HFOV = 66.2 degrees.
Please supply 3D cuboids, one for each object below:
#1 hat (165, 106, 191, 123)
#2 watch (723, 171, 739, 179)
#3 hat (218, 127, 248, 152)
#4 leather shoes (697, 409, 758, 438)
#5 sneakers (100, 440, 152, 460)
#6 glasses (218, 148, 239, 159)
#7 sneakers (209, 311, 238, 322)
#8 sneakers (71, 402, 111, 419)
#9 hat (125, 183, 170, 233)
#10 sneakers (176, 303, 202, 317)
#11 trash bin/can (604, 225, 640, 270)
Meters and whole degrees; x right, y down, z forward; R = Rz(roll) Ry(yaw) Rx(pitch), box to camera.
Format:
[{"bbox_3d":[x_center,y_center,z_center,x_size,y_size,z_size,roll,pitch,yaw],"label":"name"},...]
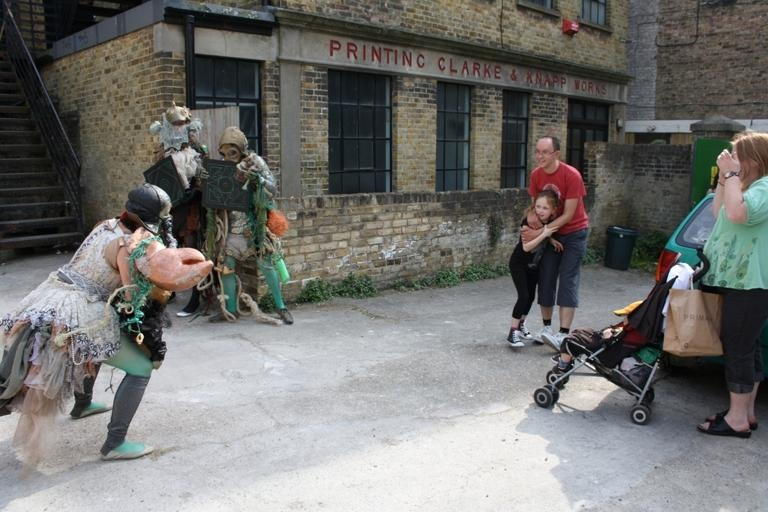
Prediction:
[{"bbox_3d":[-2.742,-1.869,7.894,0.321,0.235,0.236,-6,31,-16],"label":"hat"},{"bbox_3d":[3.070,-0.711,5.179,0.094,0.064,0.050,5,15,21],"label":"watch"},{"bbox_3d":[-1.963,-1.549,7.941,0.295,0.356,0.393,3,-22,11],"label":"hat"},{"bbox_3d":[3.142,1.539,5.379,0.358,0.125,0.263,1,0,20],"label":"leather shoes"},{"bbox_3d":[-2.112,1.611,4.840,0.386,0.144,0.148,-2,7,-23],"label":"sneakers"},{"bbox_3d":[-2.044,-1.350,7.821,0.158,0.146,0.203,-2,-5,10],"label":"glasses"},{"bbox_3d":[-2.182,0.835,7.883,0.463,0.127,0.133,-4,-13,-36],"label":"sneakers"},{"bbox_3d":[-2.691,1.421,5.405,0.309,0.114,0.118,-7,12,-36],"label":"sneakers"},{"bbox_3d":[-1.928,-0.381,4.897,0.418,0.393,0.353,-1,35,-33],"label":"hat"},{"bbox_3d":[-2.673,0.764,8.101,0.126,0.107,0.310,-1,-2,38],"label":"sneakers"},{"bbox_3d":[5.594,-0.182,14.094,0.971,1.006,0.895,2,5,-4],"label":"trash bin/can"}]
